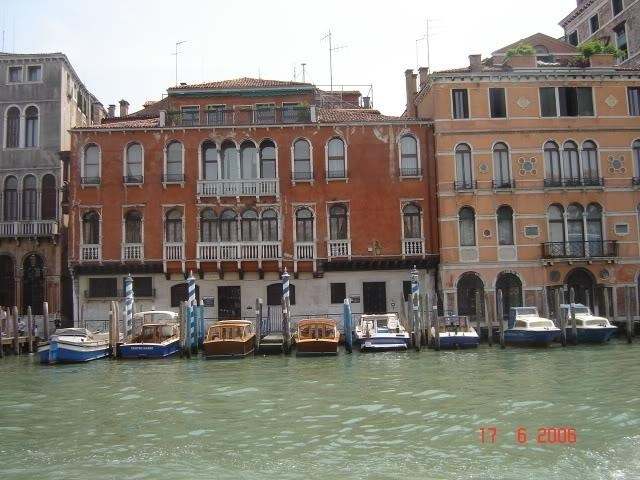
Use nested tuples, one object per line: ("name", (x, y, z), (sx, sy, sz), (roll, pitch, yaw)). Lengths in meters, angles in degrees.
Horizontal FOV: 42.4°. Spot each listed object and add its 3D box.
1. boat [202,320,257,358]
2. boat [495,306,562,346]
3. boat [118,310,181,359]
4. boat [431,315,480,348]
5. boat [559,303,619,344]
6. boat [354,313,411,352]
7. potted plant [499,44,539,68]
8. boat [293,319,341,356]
("boat", (-4.770, 4.911, 44.942), (2.512, 1.450, 4.849), (-1, 9, 4))
("boat", (11.516, 4.764, 44.945), (2.675, 2.179, 2.465), (-1, -4, -29))
("boat", (-9.230, 5.064, 45.302), (3.316, 2.241, 5.075), (-2, 7, -7))
("boat", (7.230, 4.999, 45.012), (2.202, 1.745, 1.901), (1, -4, -3))
("boat", (14.437, 4.641, 46.566), (2.190, 1.960, 4.339), (-5, 3, -25))
("boat", (3.131, 4.928, 46.274), (2.872, 1.465, 4.817), (0, 4, -8))
("potted plant", (13.048, -11.954, 52.364), (2.515, 1.553, 2.401), (0, -2, 6))
("boat", (-0.202, 5.159, 43.807), (2.300, 1.724, 2.364), (-1, -4, -2))
